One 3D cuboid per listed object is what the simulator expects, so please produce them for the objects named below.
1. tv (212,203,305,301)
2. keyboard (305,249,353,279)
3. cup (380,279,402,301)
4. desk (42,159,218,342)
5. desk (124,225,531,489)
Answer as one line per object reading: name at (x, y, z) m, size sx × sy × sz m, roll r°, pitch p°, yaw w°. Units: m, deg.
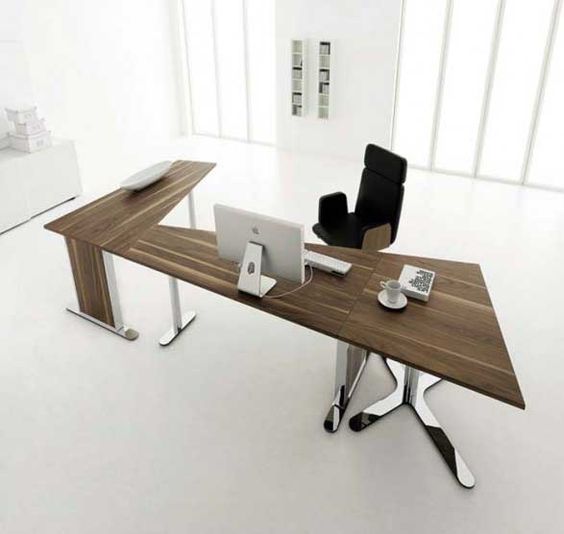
tv at (-0.134, -0.060, 2.154) m, size 0.470 × 0.398 × 0.171 m, roll 16°, pitch 36°, yaw 21°
keyboard at (0.248, -0.024, 2.464) m, size 0.250 × 0.047 × 0.120 m, roll 21°, pitch 37°, yaw 28°
cup at (0.544, 0.103, 2.181) m, size 0.067 × 0.095 × 0.102 m, roll -30°, pitch 38°, yaw -30°
desk at (-1.225, -0.086, 3.450) m, size 0.630 × 0.752 × 1.503 m, roll 10°, pitch 33°, yaw 17°
desk at (0.304, 0.405, 2.541) m, size 1.853 × 0.913 × 0.882 m, roll 19°, pitch 36°, yaw 26°
